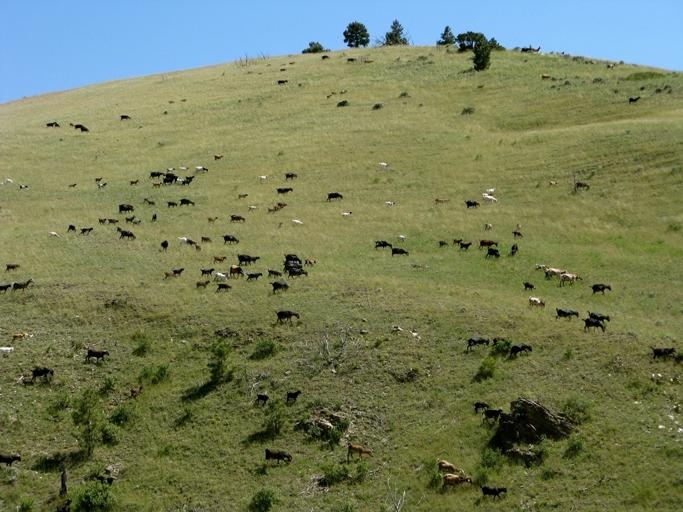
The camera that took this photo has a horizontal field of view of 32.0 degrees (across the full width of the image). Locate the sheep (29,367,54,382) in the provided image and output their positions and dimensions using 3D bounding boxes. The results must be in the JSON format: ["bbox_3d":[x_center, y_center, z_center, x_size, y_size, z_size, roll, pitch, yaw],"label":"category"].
[{"bbox_3d":[-25.573,10.040,101.066,1.887,1.075,0.792,-11,24,-10],"label":"sheep"}]

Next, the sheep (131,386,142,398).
[{"bbox_3d":[-17.492,11.531,101.059,1.213,0.691,0.657,-25,30,-35],"label":"sheep"}]

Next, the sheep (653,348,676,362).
[{"bbox_3d":[27.492,8.364,101.006,1.907,0.738,0.725,-2,24,10],"label":"sheep"}]

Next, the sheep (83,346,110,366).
[{"bbox_3d":[-21.330,8.637,102.988,2.248,1.063,1.287,-12,25,-12],"label":"sheep"}]

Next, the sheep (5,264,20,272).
[{"bbox_3d":[-31.319,1.189,112.577,1.349,0.560,0.831,-14,25,-16],"label":"sheep"}]
